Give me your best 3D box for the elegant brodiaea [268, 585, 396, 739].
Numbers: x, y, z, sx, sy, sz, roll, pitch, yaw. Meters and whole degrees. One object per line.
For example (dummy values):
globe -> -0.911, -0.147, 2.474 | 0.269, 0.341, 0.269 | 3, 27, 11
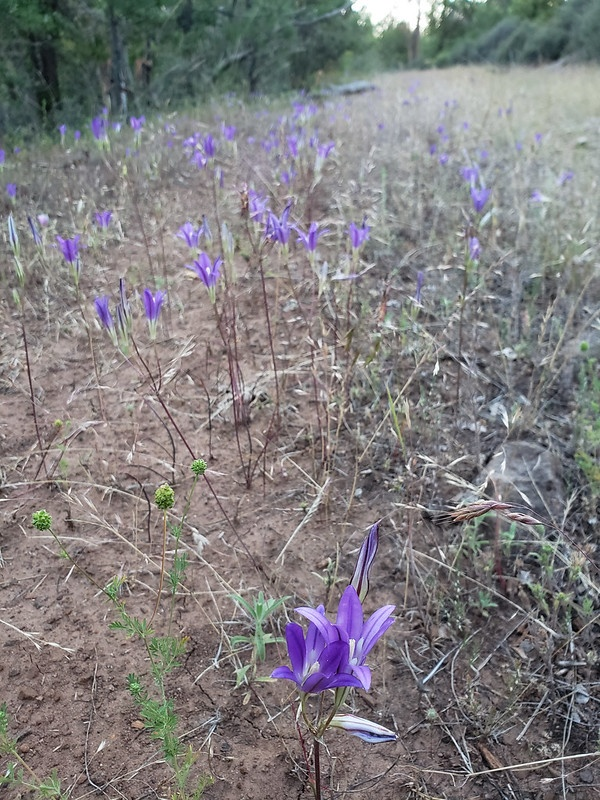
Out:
elegant brodiaea -> 0.072, 0.533, 1.388 | 0.218, 0.371, 0.203 | 1, 28, 8
